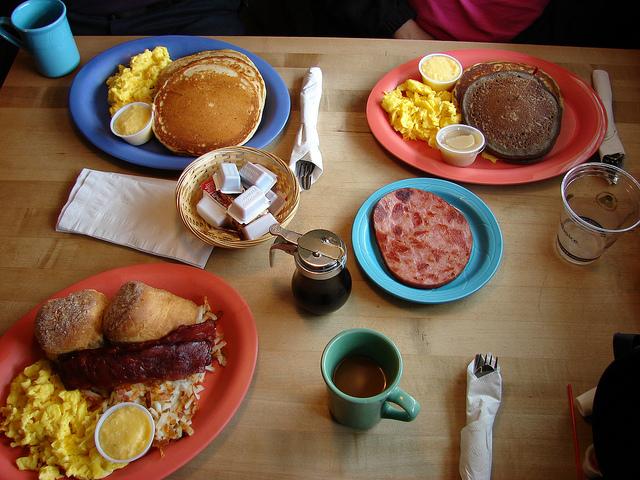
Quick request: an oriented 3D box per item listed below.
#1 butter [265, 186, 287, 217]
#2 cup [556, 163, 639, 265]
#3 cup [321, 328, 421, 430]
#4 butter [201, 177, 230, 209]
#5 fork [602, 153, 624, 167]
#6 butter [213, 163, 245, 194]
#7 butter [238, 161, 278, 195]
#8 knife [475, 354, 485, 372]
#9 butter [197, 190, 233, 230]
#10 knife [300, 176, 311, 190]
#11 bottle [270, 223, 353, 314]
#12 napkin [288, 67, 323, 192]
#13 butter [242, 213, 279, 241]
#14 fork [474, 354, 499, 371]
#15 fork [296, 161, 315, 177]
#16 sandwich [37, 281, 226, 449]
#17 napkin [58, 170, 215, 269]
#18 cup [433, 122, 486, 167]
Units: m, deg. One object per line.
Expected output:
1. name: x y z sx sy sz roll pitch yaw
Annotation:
1. butter: -0.114 -0.103 1.392 0.050 0.012 0.068 35 66 0
2. cup: 0.681 -0.075 1.415 0.208 0.268 0.229 15 31 10
3. cup: 0.097 0.304 1.139 0.180 0.168 0.200 -12 68 -3
4. butter: -0.273 -0.114 1.388 0.054 0.029 0.085 -35 82 -19
5. fork: 0.827 -0.228 1.486 0.049 0.034 0.053 11 61 30
6. butter: -0.240 -0.158 1.371 0.061 0.043 0.082 -7 51 -24
7. butter: -0.160 -0.166 1.377 0.096 0.027 0.070 33 80 23
8. knife: 0.371 0.284 1.214 0.018 0.008 0.031 0 68 3
9. butter: -0.270 -0.071 1.370 0.075 0.034 0.104 -32 78 -22
10. knife: -0.043 -0.162 1.505 0.028 0.010 0.040 2 75 -4
11. bottle: -0.026 0.067 1.262 0.208 0.227 0.147 21 57 15
12. napkin: -0.043 -0.337 1.583 0.097 0.114 0.448 -1 69 2
13. butter: -0.149 -0.028 1.340 0.091 0.048 0.051 -33 70 -10
14. fork: 0.388 0.280 1.220 0.029 0.012 0.050 3 41 5
15. fork: -0.043 -0.204 1.516 0.051 0.013 0.050 -1 76 -3
16. sandwich: -0.411 0.247 1.165 0.365 0.114 0.343 11 71 -2
17. napkin: -0.481 -0.068 1.433 0.434 0.037 0.199 15 70 8
18. cup: 0.400 -0.281 1.512 0.124 0.064 0.129 -1 56 2
